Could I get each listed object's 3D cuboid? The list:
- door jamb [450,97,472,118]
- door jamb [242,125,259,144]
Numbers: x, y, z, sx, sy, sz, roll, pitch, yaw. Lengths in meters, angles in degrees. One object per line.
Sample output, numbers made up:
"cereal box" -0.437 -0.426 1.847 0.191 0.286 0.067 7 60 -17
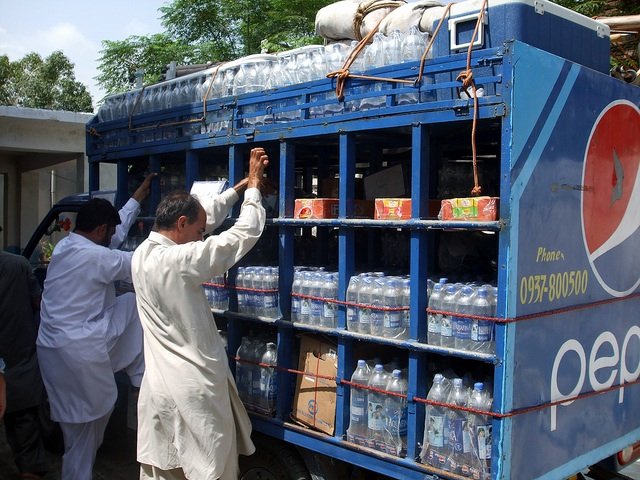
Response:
"door jamb" 0.862 -0.803 4.096 0.126 0.106 0.019 4 5 33
"door jamb" -0.528 -0.793 5.056 0.097 0.115 0.063 9 10 36
